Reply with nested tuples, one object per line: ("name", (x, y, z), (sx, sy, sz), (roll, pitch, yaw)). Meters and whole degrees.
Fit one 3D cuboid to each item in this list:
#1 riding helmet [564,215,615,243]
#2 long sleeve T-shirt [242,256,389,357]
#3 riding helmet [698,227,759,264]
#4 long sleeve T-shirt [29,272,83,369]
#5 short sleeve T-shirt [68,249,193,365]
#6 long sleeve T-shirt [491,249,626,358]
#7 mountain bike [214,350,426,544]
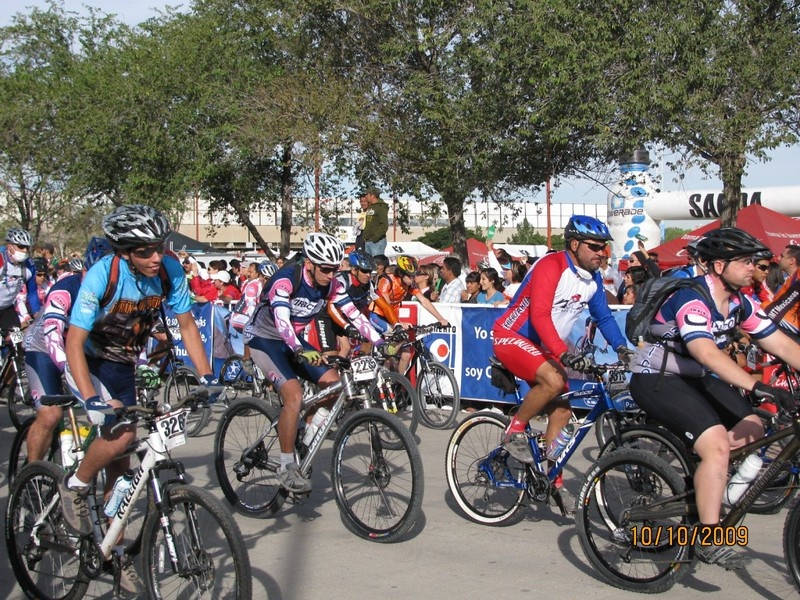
("riding helmet", (1.695, -0.652, 7.953), (0.342, 0.174, 0.246), (7, 5, 44))
("long sleeve T-shirt", (-0.872, 0.068, 8.836), (1.098, 0.796, 0.927), (33, 22, 35))
("riding helmet", (2.688, -0.447, 7.152), (0.374, 0.188, 0.273), (-8, -6, 32))
("long sleeve T-shirt", (-3.064, 0.201, 7.768), (0.347, 0.480, 0.883), (15, 10, -2))
("short sleeve T-shirt", (-2.155, 0.007, 7.092), (1.005, 0.968, 0.435), (-5, 37, -32))
("long sleeve T-shirt", (1.572, 0.045, 8.247), (0.830, 0.916, 1.073), (5, 21, -46))
("mountain bike", (-0.847, 1.331, 8.492), (2.587, 1.722, 1.185), (1, -1, 34))
